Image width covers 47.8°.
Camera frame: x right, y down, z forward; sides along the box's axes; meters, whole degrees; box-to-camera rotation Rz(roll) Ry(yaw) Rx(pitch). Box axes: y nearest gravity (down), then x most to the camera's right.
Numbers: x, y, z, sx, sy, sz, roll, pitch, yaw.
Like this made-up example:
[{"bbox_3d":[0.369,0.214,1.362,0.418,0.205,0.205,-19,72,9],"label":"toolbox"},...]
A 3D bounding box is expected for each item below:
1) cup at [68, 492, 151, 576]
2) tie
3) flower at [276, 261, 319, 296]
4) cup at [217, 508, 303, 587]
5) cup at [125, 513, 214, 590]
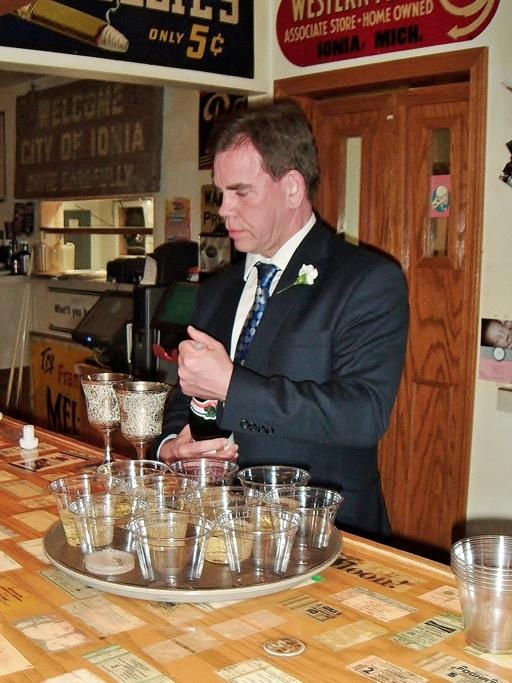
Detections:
[{"bbox_3d":[-0.198,0.266,0.831,0.104,0.080,0.105,1,-3,0],"label":"cup"},{"bbox_3d":[-0.001,-0.074,1.607,0.076,0.385,0.054,20,-14,10],"label":"tie"},{"bbox_3d":[0.119,-0.168,1.562,0.094,0.046,0.043,-19,-20,28],"label":"flower"},{"bbox_3d":[0.003,0.264,0.780,0.105,0.061,0.101,1,-5,0],"label":"cup"},{"bbox_3d":[-0.108,0.265,0.742,0.103,0.062,0.099,0,1,0],"label":"cup"}]
